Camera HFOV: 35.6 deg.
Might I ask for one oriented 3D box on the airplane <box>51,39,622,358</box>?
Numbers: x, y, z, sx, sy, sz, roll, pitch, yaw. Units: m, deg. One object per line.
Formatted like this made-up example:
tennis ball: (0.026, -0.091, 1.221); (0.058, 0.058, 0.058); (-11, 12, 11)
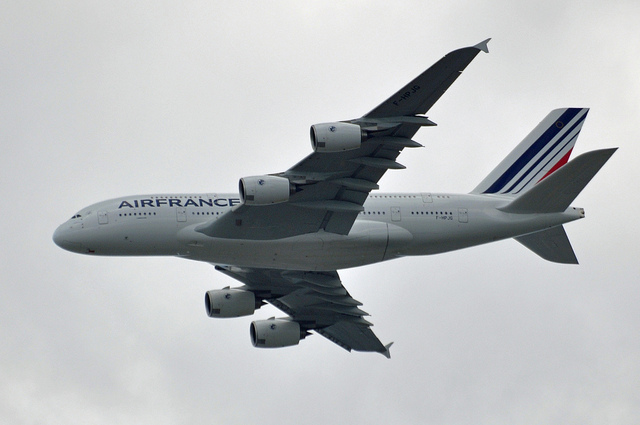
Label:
airplane: (1.604, 0.303, 51.116); (36.203, 12.378, 16.046); (5, -90, -1)
